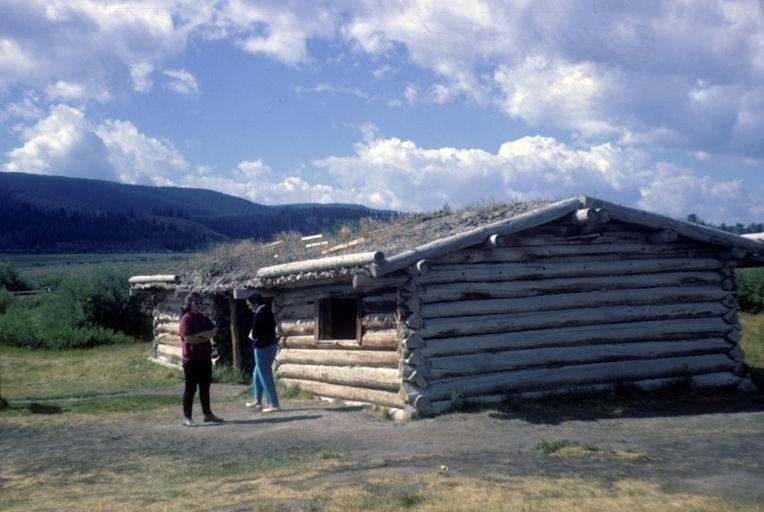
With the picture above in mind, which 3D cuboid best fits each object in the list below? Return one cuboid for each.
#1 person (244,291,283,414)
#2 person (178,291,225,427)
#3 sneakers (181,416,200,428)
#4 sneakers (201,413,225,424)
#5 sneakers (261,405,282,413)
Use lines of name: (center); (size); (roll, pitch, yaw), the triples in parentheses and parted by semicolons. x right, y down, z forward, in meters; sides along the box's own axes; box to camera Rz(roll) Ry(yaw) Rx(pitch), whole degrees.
person: (-2.806, 2.211, 13.902); (0.654, 2.820, 0.883); (-4, 7, -17)
person: (-4.004, 2.216, 13.022); (0.807, 2.890, 0.851); (-4, 7, -18)
sneakers: (-4.142, 3.539, 12.907); (0.331, 0.137, 0.174); (-6, -6, 38)
sneakers: (-3.706, 3.536, 13.128); (0.495, 0.223, 0.170); (0, -1, -10)
sneakers: (-2.577, 3.523, 13.907); (0.452, 0.180, 0.166); (2, -6, 4)
